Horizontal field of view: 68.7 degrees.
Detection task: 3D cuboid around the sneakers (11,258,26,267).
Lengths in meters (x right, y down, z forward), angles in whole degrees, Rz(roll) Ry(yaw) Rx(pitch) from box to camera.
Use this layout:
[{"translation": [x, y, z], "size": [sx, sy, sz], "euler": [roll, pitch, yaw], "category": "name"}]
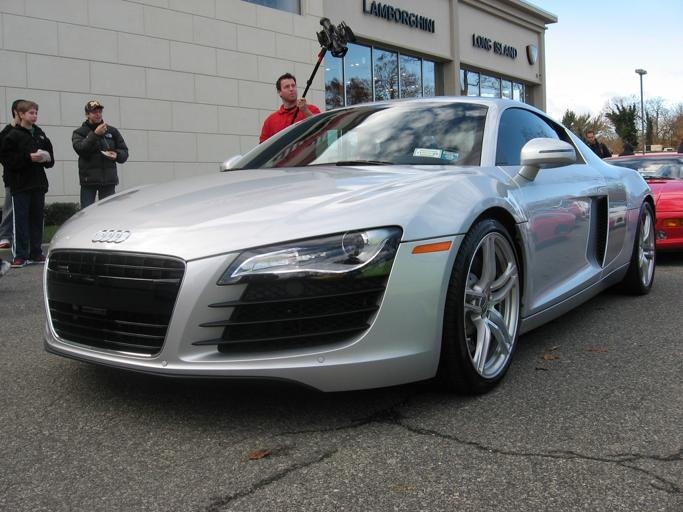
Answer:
[{"translation": [-4.734, 0.122, 7.315], "size": [0.090, 0.121, 0.260], "euler": [4, -6, 6], "category": "sneakers"}]
